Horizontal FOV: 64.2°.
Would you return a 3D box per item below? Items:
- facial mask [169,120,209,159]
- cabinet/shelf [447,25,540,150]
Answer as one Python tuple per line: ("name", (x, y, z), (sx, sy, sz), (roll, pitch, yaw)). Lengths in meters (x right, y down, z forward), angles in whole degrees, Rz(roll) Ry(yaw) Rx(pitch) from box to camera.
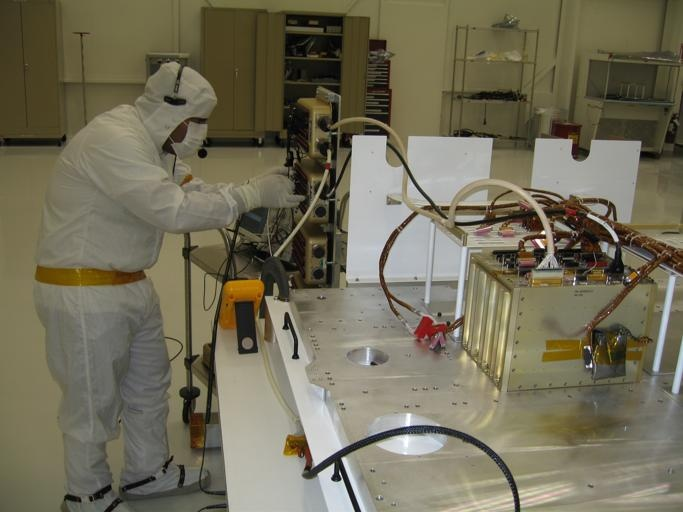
("facial mask", (-0.629, -0.486, 2.267), (0.140, 0.107, 0.133), (25, 15, -2))
("cabinet/shelf", (2.557, -2.856, 9.066), (1.595, 1.846, 0.730), (-4, 13, -16))
